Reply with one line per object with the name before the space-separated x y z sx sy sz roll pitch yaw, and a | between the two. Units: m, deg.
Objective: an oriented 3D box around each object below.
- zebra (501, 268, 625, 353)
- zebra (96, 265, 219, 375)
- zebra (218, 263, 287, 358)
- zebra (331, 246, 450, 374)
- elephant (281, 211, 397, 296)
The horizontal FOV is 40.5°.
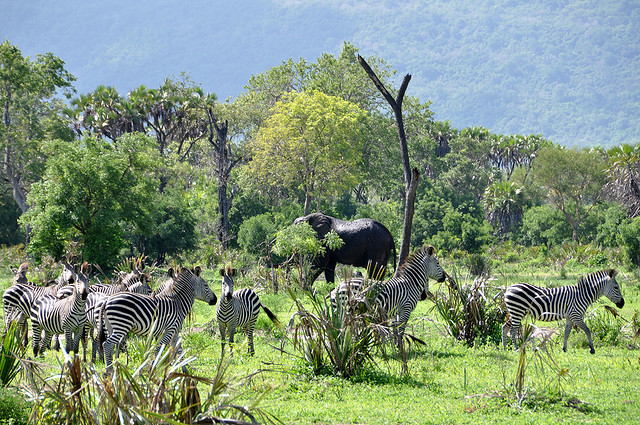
zebra | 11.056 4.528 39.577 5.409 4.068 1.443 -1 -10 15
zebra | -7.025 4.649 37.793 5.250 4.723 1.668 1 -16 -26
zebra | -3.505 4.588 39.951 1.603 4.268 5.748 3 -1 23
zebra | 2.943 4.138 38.256 5.150 5.692 2.698 9 -13 -43
elephant | 1.060 2.507 47.806 6.189 4.980 2.437 0 3 1
